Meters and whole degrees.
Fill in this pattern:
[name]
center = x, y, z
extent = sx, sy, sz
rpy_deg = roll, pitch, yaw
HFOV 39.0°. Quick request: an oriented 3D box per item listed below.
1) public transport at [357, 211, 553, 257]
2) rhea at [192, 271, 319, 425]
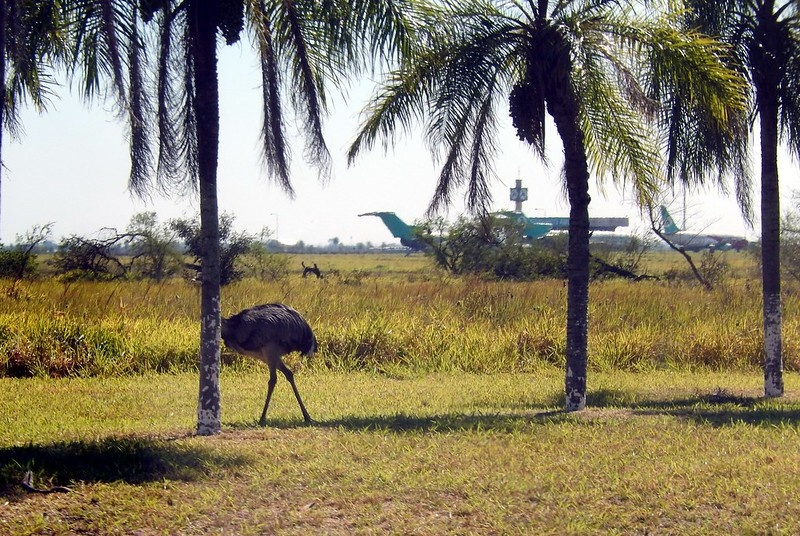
[public transport]
center = 2.829, -1.299, 45.731
extent = 9.898, 2.386, 2.541
rpy_deg = 1, -5, -5
[rhea]
center = -2.031, 1.531, 17.409
extent = 1.405, 1.794, 0.962
rpy_deg = 0, 8, -6
